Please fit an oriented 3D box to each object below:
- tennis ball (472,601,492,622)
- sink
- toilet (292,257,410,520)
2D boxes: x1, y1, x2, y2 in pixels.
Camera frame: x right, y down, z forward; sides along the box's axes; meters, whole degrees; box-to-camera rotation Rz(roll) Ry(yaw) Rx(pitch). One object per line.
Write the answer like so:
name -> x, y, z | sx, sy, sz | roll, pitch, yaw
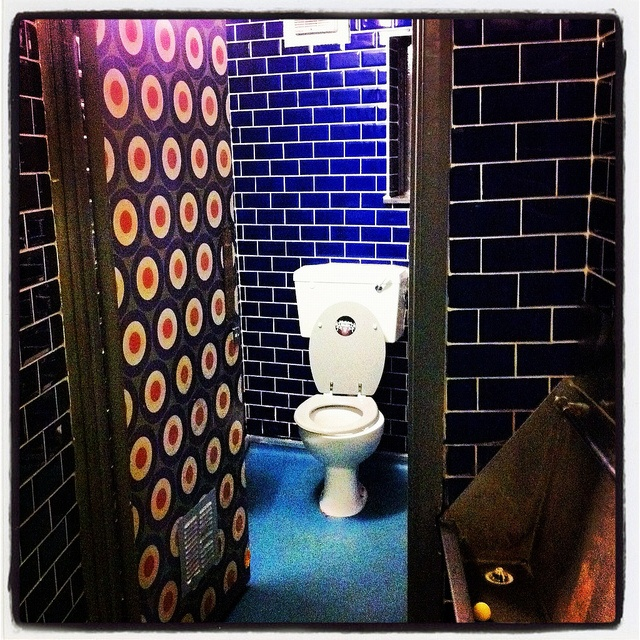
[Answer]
tennis ball -> 0.334, 0.604, 1.275 | 0.031, 0.040, 0.040 | -15, -4, -9
sink -> 0.416, 0.205, 1.386 | 0.312, 0.588, 0.746 | 0, 5, 6
toilet -> 0.147, 0.307, 2.781 | 0.520, 1.039, 0.551 | -2, 12, -1
